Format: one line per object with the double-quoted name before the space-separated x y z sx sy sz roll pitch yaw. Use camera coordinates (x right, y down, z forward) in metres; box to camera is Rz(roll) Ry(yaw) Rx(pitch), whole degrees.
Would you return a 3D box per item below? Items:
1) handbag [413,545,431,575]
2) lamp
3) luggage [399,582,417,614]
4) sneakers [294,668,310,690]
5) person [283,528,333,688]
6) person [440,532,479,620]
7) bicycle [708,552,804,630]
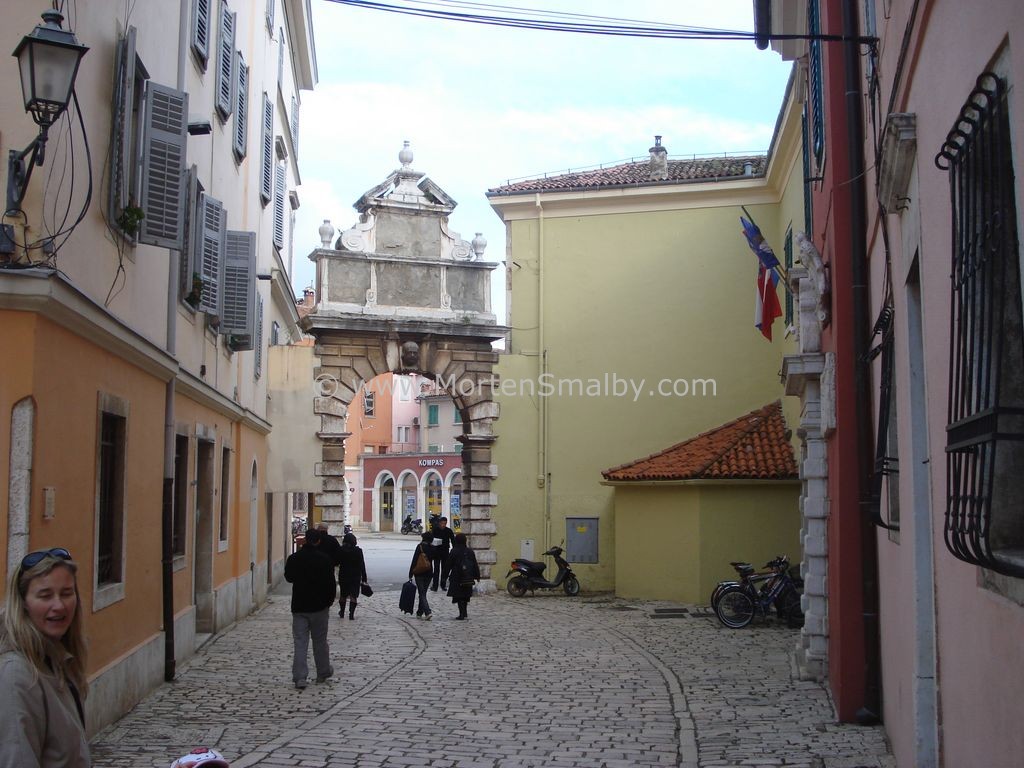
"handbag" -1.633 3.275 20.290 0.277 0.462 0.410 1 -6 -5
"lamp" -3.662 -2.235 8.659 0.474 1.657 0.968 5 -10 -30
"luggage" -1.848 3.781 19.651 0.263 0.492 0.518 1 -10 -5
"sneakers" -2.451 3.389 12.764 0.162 0.243 0.335 1 -10 -11
"person" -2.427 2.668 13.319 0.563 1.867 1.195 1 -9 -9
"person" -0.946 3.549 20.541 0.531 1.579 1.542 0 -10 -2
"bicycle" 4.185 3.621 19.113 1.649 1.297 0.874 -3 -2 -1
